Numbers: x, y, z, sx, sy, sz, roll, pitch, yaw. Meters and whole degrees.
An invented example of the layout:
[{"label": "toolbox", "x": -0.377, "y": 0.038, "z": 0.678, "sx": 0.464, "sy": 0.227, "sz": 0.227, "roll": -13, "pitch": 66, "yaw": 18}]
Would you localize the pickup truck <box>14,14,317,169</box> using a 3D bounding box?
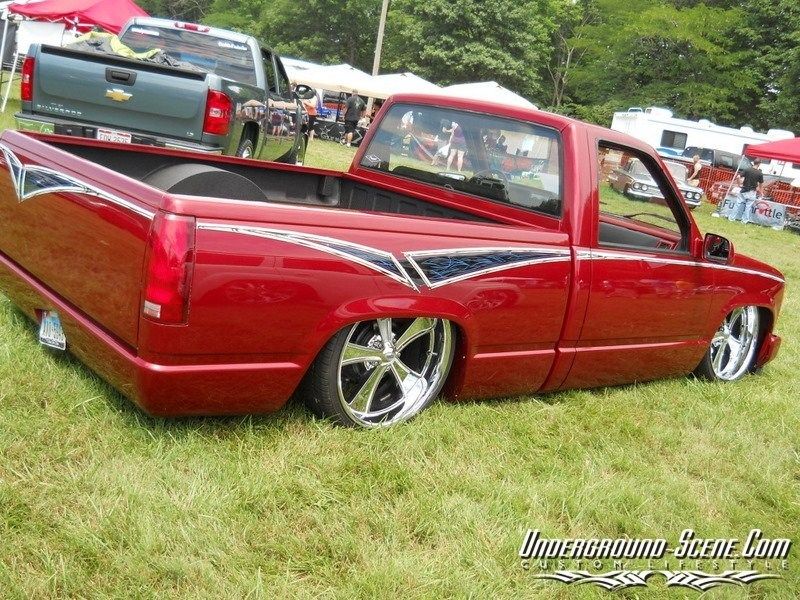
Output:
[{"label": "pickup truck", "x": -2.389, "y": -2.434, "z": 7.504, "sx": 2.388, "sy": 1.490, "sz": 3.936, "roll": 15, "pitch": 20, "yaw": 17}]
